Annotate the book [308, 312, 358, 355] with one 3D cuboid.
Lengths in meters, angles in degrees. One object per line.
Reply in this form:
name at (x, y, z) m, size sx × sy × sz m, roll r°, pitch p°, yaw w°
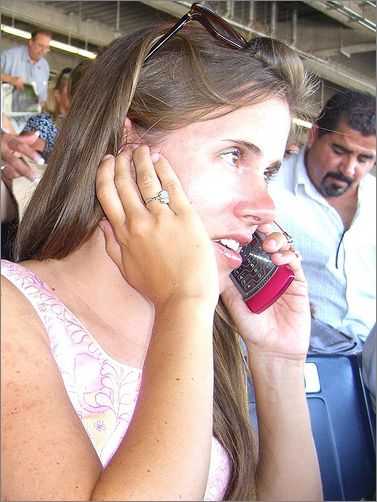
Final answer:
book at (0.468, 0.271, 1.506) m, size 0.165 × 0.050 × 0.116 m, roll 17°, pitch 24°, yaw -28°
